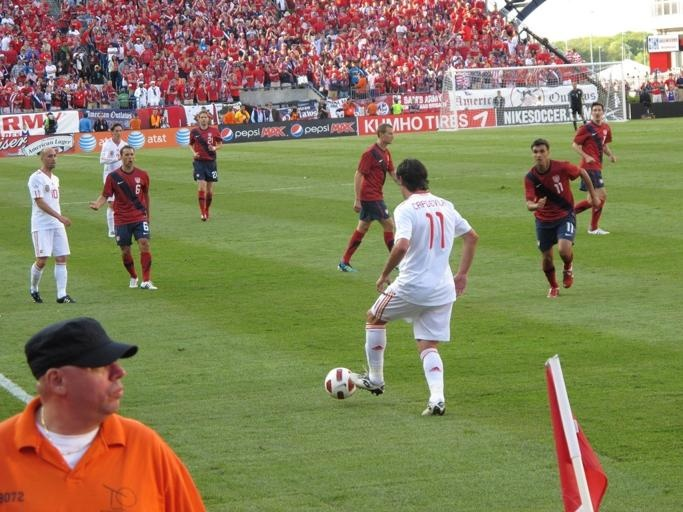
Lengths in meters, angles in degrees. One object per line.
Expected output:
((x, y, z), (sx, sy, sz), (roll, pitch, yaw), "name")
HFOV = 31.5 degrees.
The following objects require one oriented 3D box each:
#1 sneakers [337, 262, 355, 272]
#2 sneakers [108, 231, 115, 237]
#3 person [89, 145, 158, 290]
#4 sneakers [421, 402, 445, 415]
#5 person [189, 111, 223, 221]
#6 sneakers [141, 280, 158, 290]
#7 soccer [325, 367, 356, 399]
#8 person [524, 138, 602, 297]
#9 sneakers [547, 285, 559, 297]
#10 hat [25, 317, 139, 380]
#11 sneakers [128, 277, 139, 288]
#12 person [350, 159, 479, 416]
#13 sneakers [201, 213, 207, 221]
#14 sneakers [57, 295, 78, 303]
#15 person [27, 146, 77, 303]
((0.055, 0.173, 18.097), (0.295, 0.125, 0.104), (6, 7, -22), "sneakers")
((-4.107, -0.392, 21.628), (0.107, 0.144, 0.151), (0, 0, -8), "sneakers")
((-3.142, -0.565, 17.673), (0.705, 2.085, 1.516), (-6, 15, -11), "person")
((0.936, 1.563, 12.457), (0.258, 0.138, 0.141), (-4, 15, -5), "sneakers")
((-2.623, -1.767, 23.615), (0.581, 2.075, 1.405), (-5, 15, -7), "person")
((-2.771, 0.423, 17.379), (0.304, 0.130, 0.103), (2, 8, 22), "sneakers")
((-0.021, 1.365, 12.942), (0.313, 0.310, 0.310), (0, -2, -2), "soccer")
((2.912, -0.583, 16.571), (0.716, 2.105, 1.444), (3, 15, 20), "person")
((2.802, 0.476, 16.233), (0.139, 0.123, 0.204), (-1, 15, 6), "sneakers")
((-1.942, 0.670, 9.036), (0.664, 0.289, 0.439), (-5, 3, -5), "hat")
((-3.009, 0.390, 17.538), (0.158, 0.187, 0.130), (1, 0, -2), "sneakers")
((0.776, 0.276, 12.681), (1.245, 2.510, 0.636), (-2, 15, 2), "person")
((-2.659, -0.740, 23.281), (0.075, 0.094, 0.210), (-5, -4, -5), "sneakers")
((-3.821, 0.591, 16.787), (0.221, 0.107, 0.286), (-9, 16, -23), "sneakers")
((-4.095, -0.292, 16.819), (0.607, 1.949, 0.940), (-7, 15, -16), "person")
